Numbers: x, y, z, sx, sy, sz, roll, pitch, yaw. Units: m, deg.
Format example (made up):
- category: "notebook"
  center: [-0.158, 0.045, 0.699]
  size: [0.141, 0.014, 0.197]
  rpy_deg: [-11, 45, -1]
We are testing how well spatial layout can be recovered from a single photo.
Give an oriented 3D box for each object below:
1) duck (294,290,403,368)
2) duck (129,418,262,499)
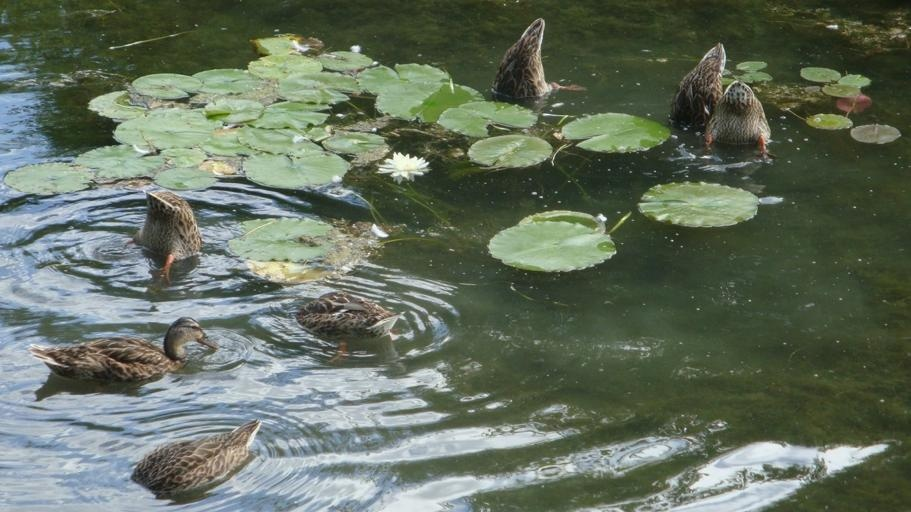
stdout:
- category: "duck"
  center: [-1.615, 0.922, 13.619]
  size: [1.166, 0.683, 1.045]
  rpy_deg: [35, 47, 27]
- category: "duck"
  center: [-3.235, 2.639, 12.218]
  size: [2.108, 0.435, 0.649]
  rpy_deg: [-13, 21, -11]
